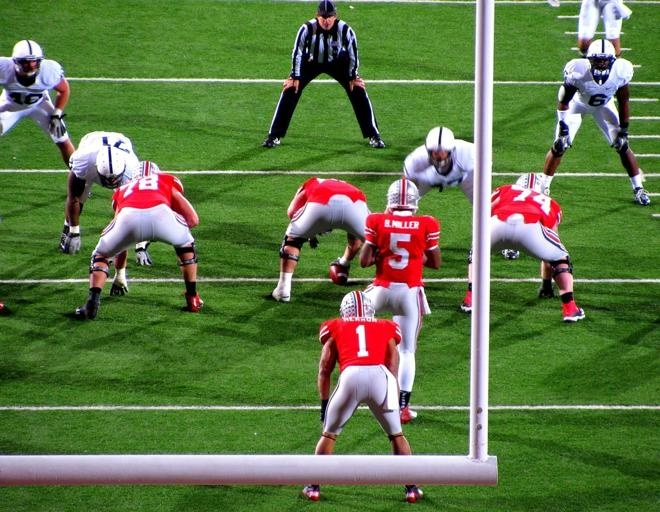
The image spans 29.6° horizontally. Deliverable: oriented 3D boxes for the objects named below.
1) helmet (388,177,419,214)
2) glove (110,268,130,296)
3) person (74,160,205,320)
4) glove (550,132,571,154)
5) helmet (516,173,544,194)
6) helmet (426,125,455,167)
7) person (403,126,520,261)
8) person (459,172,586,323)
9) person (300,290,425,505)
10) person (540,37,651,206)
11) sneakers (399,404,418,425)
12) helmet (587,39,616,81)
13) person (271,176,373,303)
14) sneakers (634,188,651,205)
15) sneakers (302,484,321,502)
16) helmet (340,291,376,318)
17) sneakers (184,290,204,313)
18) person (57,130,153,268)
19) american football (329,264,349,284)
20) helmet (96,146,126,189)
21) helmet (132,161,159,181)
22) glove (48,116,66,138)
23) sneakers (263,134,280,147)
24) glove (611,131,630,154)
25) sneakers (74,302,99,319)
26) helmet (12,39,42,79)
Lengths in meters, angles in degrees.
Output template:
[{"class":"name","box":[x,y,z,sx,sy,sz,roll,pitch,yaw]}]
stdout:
[{"class":"helmet","box":[0.651,-0.525,11.039,0.308,0.316,0.399,2,-3,5]},{"class":"glove","box":[-2.098,0.274,12.465,0.189,0.260,0.114,8,19,-17]},{"class":"person","box":[-1.871,-0.168,12.344,1.190,1.493,1.424,-8,-3,18]},{"class":"glove","box":[2.551,-1.204,13.689,0.191,0.089,0.212,22,-30,-3]},{"class":"helmet","box":[1.968,-0.691,12.197,0.185,0.230,0.221,1,0,7]},{"class":"helmet","box":[1.091,-1.079,12.182,0.298,0.362,0.364,0,40,6]},{"class":"person","box":[1.264,-0.740,12.799,1.203,0.548,1.825,-1,-14,16]},{"class":"person","box":[1.961,-0.105,12.461,1.303,1.133,1.794,2,11,7]},{"class":"person","box":[0.275,1.057,10.009,0.754,1.383,0.777,4,14,1]},{"class":"person","box":[2.998,-1.530,13.917,1.241,1.799,1.098,5,21,13]},{"class":"sneakers","box":[0.681,1.395,10.763,0.175,0.137,0.328,0,-10,3]},{"class":"helmet","box":[2.938,-2.080,13.443,0.328,0.455,0.298,-2,15,-22]},{"class":"person","box":[0.086,-0.180,12.750,1.441,1.128,2.327,-1,8,-3]},{"class":"sneakers","box":[3.566,-0.658,14.100,0.131,0.099,0.232,-10,47,3]},{"class":"sneakers","box":[-0.141,1.928,10.040,0.078,0.088,0.212,7,12,-31]},{"class":"helmet","box":[0.226,0.419,10.100,0.196,0.214,0.251,1,13,2]},{"class":"sneakers","box":[-1.329,0.487,12.209,0.123,0.147,0.217,-7,-4,-16]},{"class":"person","box":[-2.323,-0.608,13.043,0.901,1.135,2.021,3,10,-12]},{"class":"american football","box":[0.098,0.201,12.625,0.165,0.178,0.206,-5,-20,39]},{"class":"helmet","box":[-2.125,-0.843,12.070,0.307,0.365,0.320,-3,-3,-10]},{"class":"helmet","box":[-1.819,-0.839,12.245,0.191,0.218,0.217,0,-11,-2]},{"class":"glove","box":[-3.022,-1.417,13.807,0.175,0.207,0.066,-8,0,-18]},{"class":"sneakers","box":[-0.733,-1.384,15.356,0.097,0.114,0.252,9,10,35]},{"class":"glove","box":[3.259,-1.254,13.892,0.197,0.234,0.100,21,5,8]},{"class":"sneakers","box":[-2.379,0.553,12.009,0.307,0.123,0.099,4,17,6]},{"class":"helmet","box":[-3.345,-2.181,13.634,0.322,0.329,0.391,-5,48,-25]}]
